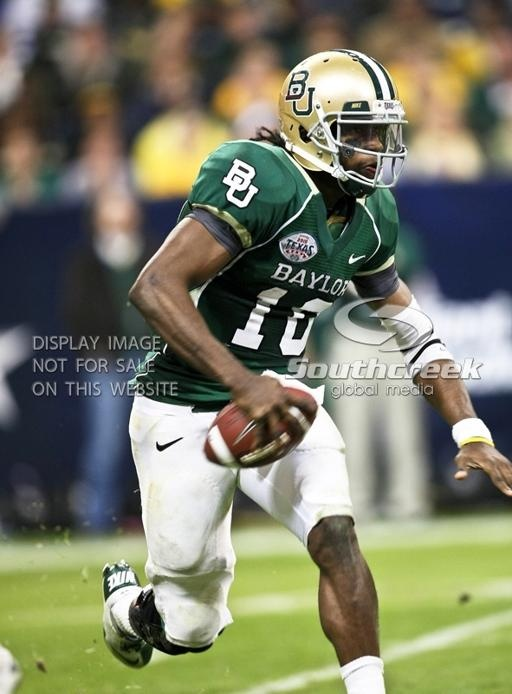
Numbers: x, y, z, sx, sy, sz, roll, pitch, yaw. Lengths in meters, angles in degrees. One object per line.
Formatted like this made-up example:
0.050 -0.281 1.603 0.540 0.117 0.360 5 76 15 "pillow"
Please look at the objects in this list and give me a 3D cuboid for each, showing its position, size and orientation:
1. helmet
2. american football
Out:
0.177 -0.567 1.865 0.285 0.263 0.371 -9 22 -44 "helmet"
0.014 0.136 1.424 0.218 0.119 0.140 -22 9 -12 "american football"
